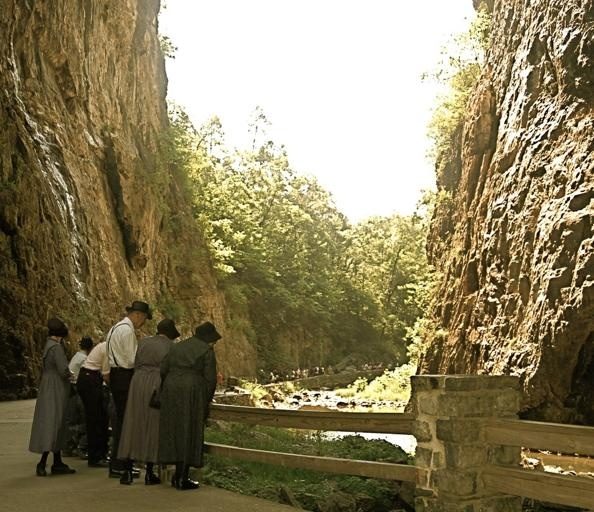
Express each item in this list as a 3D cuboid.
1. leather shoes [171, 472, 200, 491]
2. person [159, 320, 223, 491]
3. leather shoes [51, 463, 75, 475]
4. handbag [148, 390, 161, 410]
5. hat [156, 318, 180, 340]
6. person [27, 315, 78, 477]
[{"bbox_3d":[-1.456,2.946,7.144,0.350,0.147,0.150,8,-12,-31],"label":"leather shoes"},{"bbox_3d":[-1.450,1.893,7.092,0.723,2.168,0.535,8,-12,-12],"label":"person"},{"bbox_3d":[-3.390,3.062,7.906,0.383,0.178,0.136,3,-5,-8],"label":"leather shoes"},{"bbox_3d":[-1.844,1.867,7.144,0.191,0.220,0.077,-10,-17,33],"label":"handbag"},{"bbox_3d":[-1.795,0.989,7.698,0.239,0.192,0.333,20,27,7],"label":"hat"},{"bbox_3d":[-3.570,2.039,8.128,0.600,2.231,0.929,10,-13,-23],"label":"person"}]
